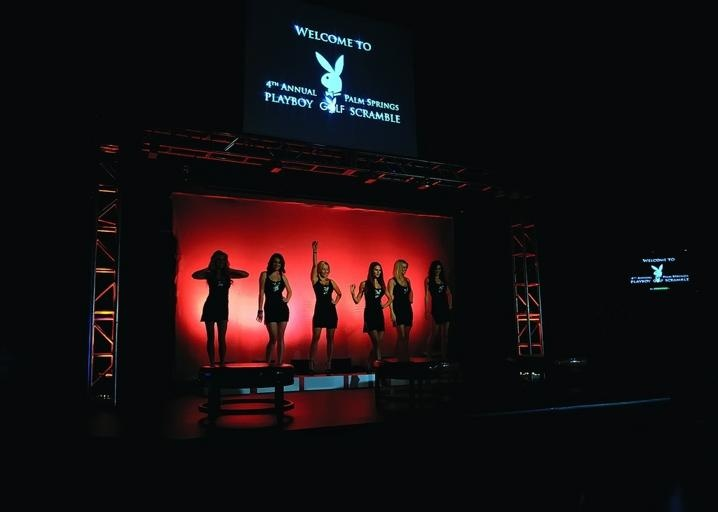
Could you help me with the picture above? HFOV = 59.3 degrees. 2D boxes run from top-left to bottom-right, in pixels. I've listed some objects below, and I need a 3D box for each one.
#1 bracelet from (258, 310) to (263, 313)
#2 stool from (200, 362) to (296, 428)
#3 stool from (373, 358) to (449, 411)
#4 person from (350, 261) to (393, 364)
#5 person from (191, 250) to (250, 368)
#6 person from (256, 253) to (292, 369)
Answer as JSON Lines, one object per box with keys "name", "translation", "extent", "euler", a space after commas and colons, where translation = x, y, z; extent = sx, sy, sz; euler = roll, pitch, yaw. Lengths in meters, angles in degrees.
{"name": "bracelet", "translation": [-1.504, 0.845, 9.671], "extent": [0.073, 0.065, 0.094], "euler": [1, -6, -5]}
{"name": "stool", "translation": [-1.407, 1.721, 8.067], "extent": [1.174, 0.686, 1.818], "euler": [2, -9, -14]}
{"name": "stool", "translation": [0.735, 1.719, 8.763], "extent": [1.100, 0.660, 0.910], "euler": [-2, -1, 11]}
{"name": "person", "translation": [0.222, 0.967, 10.772], "extent": [0.647, 1.738, 0.845], "euler": [0, -8, -1]}
{"name": "person", "translation": [-2.098, 0.728, 9.555], "extent": [0.809, 1.748, 1.147], "euler": [2, -8, -12]}
{"name": "person", "translation": [-1.335, 0.791, 10.022], "extent": [0.489, 1.796, 0.799], "euler": [1, -8, -8]}
